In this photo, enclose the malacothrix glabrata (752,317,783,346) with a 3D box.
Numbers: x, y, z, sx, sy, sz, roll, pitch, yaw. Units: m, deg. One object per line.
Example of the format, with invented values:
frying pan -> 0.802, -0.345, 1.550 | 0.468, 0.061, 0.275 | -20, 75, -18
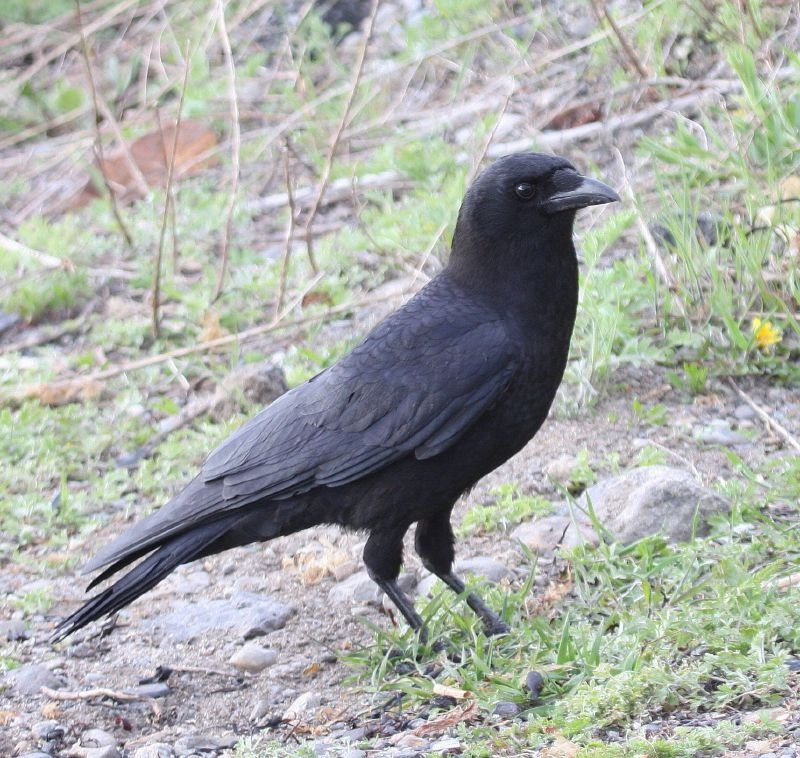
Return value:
malacothrix glabrata -> 1.444, -0.182, 4.715 | 0.121, 0.125, 0.049 | 22, 86, 58
